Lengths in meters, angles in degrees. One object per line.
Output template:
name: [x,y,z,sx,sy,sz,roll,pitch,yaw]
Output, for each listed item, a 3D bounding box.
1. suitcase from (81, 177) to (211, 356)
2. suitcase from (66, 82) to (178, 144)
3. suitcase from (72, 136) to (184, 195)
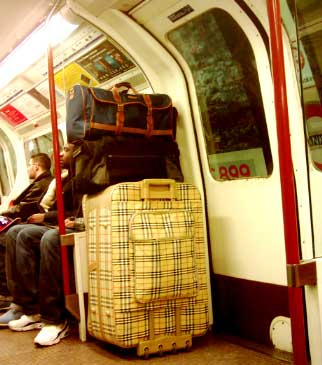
suitcase: [-0.090,0.573,2.273,0.733,1.166,0.642,4,-9,-39]
suitcase: [-0.290,-0.543,2.434,0.814,0.510,0.338,-3,1,-39]
suitcase: [-0.209,-0.175,2.425,0.702,0.379,0.291,-4,7,-17]
